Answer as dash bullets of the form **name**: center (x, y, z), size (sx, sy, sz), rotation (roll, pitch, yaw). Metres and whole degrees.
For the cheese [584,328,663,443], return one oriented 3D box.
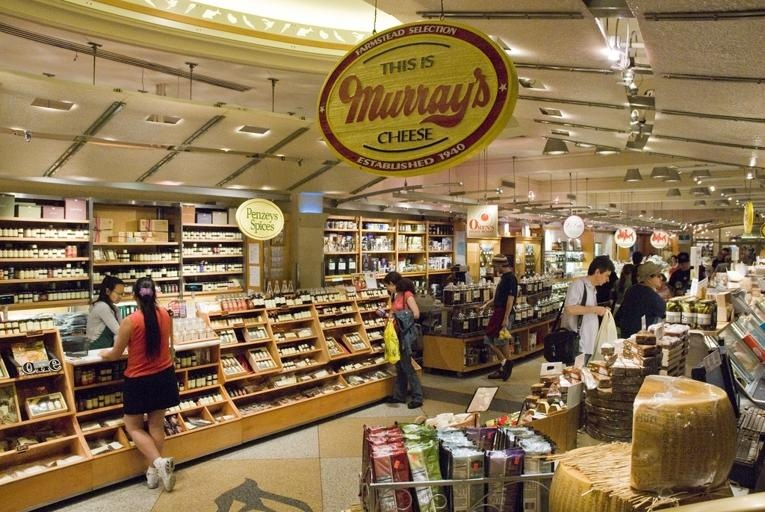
- **cheese**: center (1.761, 1.020, 4.108), size (0.535, 0.911, 0.658), rotation (6, 6, 39)

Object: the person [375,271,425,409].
- **person**: center (0.437, 1.297, 8.227), size (0.547, 2.132, 0.644), rotation (-1, 0, -42)

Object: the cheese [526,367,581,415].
- **cheese**: center (1.519, 1.174, 4.520), size (0.413, 0.369, 0.528), rotation (4, 3, 29)

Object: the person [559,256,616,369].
- **person**: center (2.626, 0.633, 6.719), size (0.756, 1.489, 0.493), rotation (0, 1, 35)
